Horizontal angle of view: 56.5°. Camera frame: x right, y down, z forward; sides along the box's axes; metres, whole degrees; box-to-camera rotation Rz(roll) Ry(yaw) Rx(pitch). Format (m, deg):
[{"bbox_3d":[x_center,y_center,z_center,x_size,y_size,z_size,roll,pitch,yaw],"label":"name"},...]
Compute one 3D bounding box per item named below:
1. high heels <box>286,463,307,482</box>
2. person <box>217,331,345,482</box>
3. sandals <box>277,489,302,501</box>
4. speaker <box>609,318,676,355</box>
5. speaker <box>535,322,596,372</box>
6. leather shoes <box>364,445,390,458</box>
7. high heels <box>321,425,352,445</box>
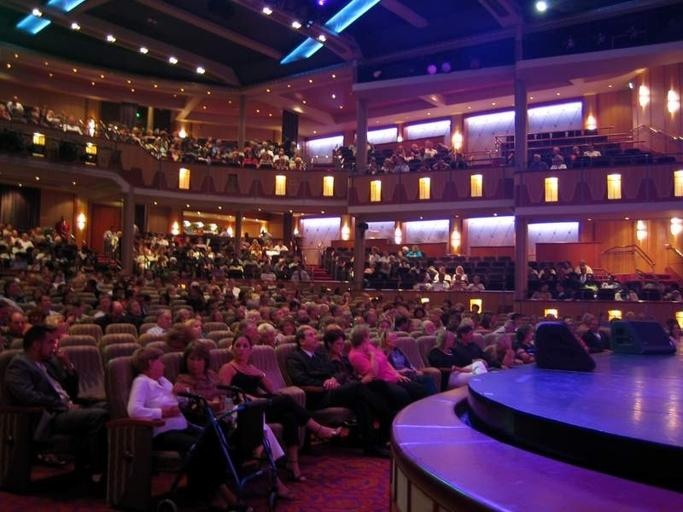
[{"bbox_3d":[-0.398,1.973,5.751,0.084,0.142,0.254,9,-22,-42],"label":"high heels"},{"bbox_3d":[-0.666,1.340,5.934,1.455,1.619,0.761,2,-2,14],"label":"person"},{"bbox_3d":[-0.435,2.031,5.386,0.146,0.058,0.078,-5,-3,17],"label":"sandals"},{"bbox_3d":[2.978,0.813,6.306,0.645,0.282,0.482,3,8,-12],"label":"speaker"},{"bbox_3d":[1.758,0.752,5.100,0.415,0.426,0.113,1,-9,-30],"label":"speaker"},{"bbox_3d":[0.357,1.966,6.351,0.242,0.101,0.162,4,8,-3],"label":"leather shoes"},{"bbox_3d":[-0.030,1.796,6.386,0.417,0.104,0.181,2,4,-16],"label":"high heels"}]
